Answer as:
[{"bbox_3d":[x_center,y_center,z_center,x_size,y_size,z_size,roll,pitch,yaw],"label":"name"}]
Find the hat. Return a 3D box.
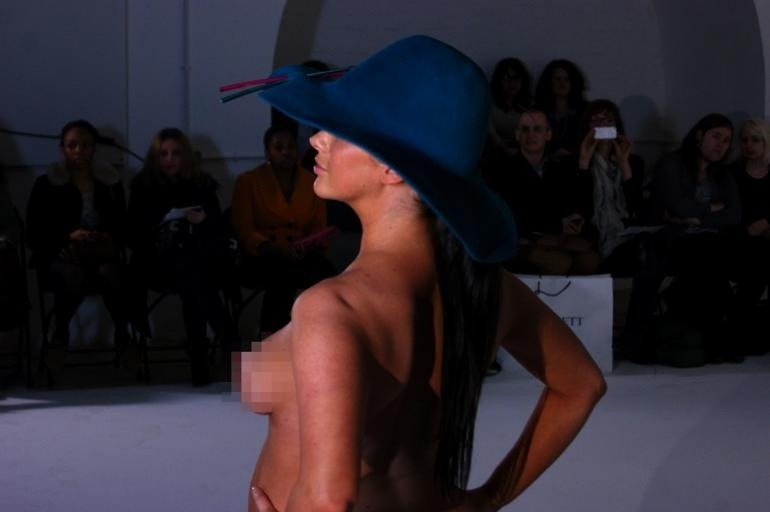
[{"bbox_3d":[0.113,-0.433,2.316,1.002,0.454,0.812,36,18,20],"label":"hat"}]

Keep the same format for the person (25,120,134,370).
[{"bbox_3d":[-2.057,-0.088,4.910,0.617,1.541,0.484,-7,15,-26],"label":"person"}]
